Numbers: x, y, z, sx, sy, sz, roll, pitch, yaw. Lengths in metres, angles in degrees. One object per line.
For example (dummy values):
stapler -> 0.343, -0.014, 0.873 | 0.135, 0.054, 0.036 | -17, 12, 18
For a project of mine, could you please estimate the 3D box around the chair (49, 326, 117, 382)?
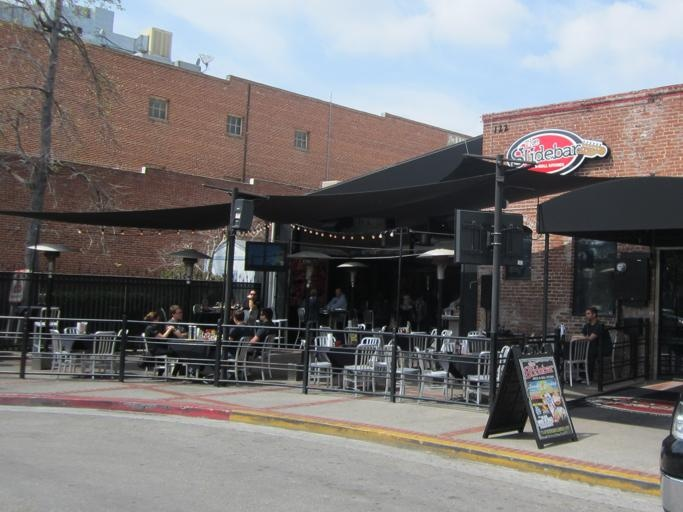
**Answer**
chair -> -5.522, 2.105, 13.873 | 1.307, 0.939, 2.290 | 5, -10, -20

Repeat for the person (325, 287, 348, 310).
person -> -0.143, 1.331, 19.850 | 0.550, 0.813, 1.461 | 2, -9, 0

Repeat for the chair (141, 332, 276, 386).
chair -> -2.657, 2.342, 13.417 | 2.282, 0.664, 1.419 | -3, -8, 23
